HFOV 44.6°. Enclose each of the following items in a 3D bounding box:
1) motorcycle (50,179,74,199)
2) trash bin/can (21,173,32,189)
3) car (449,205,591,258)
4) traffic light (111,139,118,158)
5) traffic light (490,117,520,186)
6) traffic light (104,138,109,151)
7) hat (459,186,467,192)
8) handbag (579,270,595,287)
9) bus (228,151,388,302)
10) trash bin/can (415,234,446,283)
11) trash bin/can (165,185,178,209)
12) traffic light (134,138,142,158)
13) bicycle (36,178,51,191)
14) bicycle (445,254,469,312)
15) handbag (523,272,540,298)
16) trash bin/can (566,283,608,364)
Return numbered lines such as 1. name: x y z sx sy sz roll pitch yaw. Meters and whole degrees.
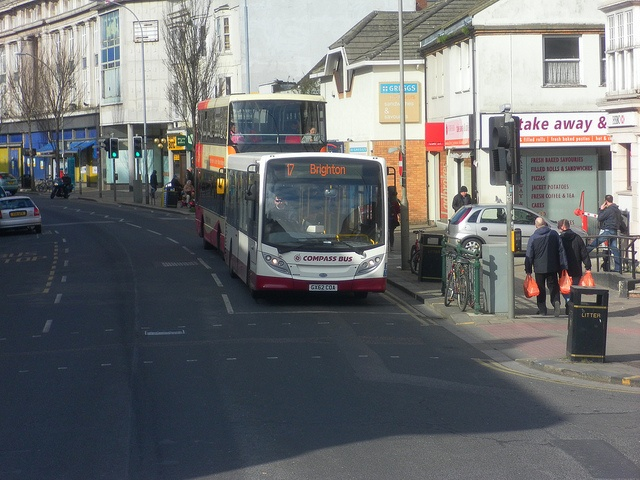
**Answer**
1. motorcycle: -20.160 -4.066 60.780 1.684 1.706 1.122 -3 7 -24
2. trash bin/can: -28.172 -5.529 74.682 1.059 1.650 1.108 2 -3 -22
3. car: 6.606 0.089 25.288 4.515 1.773 2.212 -3 6 -7
4. traffic light: -13.739 -6.080 51.860 0.535 1.335 1.092 -3 7 -22
5. traffic light: 3.808 -1.838 16.059 0.630 1.408 0.541 2 6 21
6. traffic light: -14.235 -6.289 52.012 0.291 0.710 0.944 -2 7 -20
7. hat: 5.109 -1.770 27.733 0.201 0.241 0.259 7 11 11
8. handbag: 5.740 0.848 16.792 0.242 0.457 0.378 1 2 18
9. bus: -0.741 -0.368 18.514 4.517 3.350 2.422 5 8 41
10. trash bin/can: 2.991 0.473 21.078 0.608 1.322 0.696 1 6 11
11. trash bin/can: -9.389 -2.652 49.151 0.793 1.204 1.266 -1 6 -11
12. traffic light: -11.994 -6.073 51.265 0.453 1.362 1.265 -2 6 -16
13. bicycle: -24.779 -4.893 70.274 1.689 1.170 1.174 2 1 36
14. bicycle: 3.091 1.017 17.809 0.397 1.175 1.873 5 0 -6
15. handbag: 4.506 1.006 16.575 0.290 0.500 0.461 2 6 17
16. trash bin/can: 4.724 1.569 13.625 0.763 1.264 0.759 21 -21 -37
